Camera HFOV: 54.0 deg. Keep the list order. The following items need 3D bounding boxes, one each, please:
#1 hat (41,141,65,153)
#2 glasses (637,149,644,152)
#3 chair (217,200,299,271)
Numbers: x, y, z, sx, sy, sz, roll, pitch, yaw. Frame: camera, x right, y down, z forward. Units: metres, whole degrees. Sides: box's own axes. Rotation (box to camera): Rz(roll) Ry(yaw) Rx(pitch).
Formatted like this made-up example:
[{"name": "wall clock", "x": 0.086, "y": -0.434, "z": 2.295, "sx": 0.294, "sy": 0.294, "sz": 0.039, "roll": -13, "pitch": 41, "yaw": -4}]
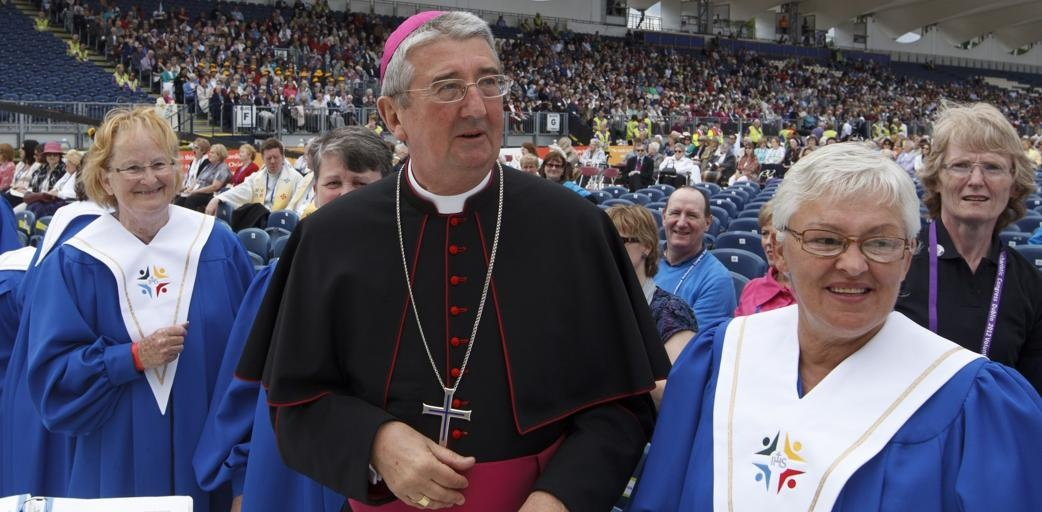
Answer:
[{"name": "hat", "x": -10.588, "y": -2.444, "z": 23.096, "sx": 0.406, "sy": 0.151, "sz": 0.511, "roll": -1, "pitch": 0, "yaw": -8}, {"name": "glasses", "x": 3.202, "y": -2.855, "z": 27.767, "sx": 0.167, "sy": 0.114, "sz": 0.179, "roll": 3, "pitch": 8, "yaw": 6}, {"name": "chair", "x": -4.247, "y": -0.316, "z": 16.429, "sx": 1.284, "sy": 1.412, "sz": 1.255, "roll": 1, "pitch": -7, "yaw": -10}]
